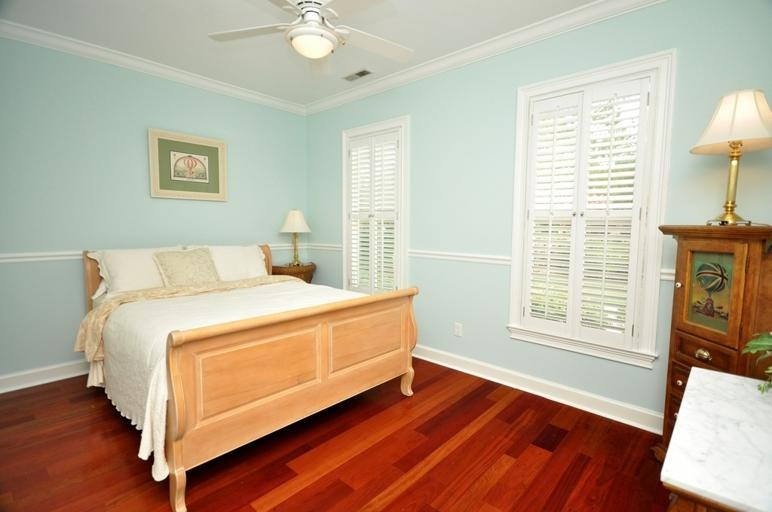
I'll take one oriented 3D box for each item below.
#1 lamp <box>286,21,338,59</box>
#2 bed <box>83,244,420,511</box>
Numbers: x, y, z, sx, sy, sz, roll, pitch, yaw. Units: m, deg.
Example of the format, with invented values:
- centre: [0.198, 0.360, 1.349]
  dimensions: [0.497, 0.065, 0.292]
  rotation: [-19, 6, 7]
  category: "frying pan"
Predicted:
- centre: [-0.571, -1.705, 3.626]
  dimensions: [0.385, 0.187, 0.232]
  rotation: [-3, 7, -1]
  category: "lamp"
- centre: [-1.346, 0.860, 4.205]
  dimensions: [1.764, 1.195, 2.227]
  rotation: [-3, 1, -44]
  category: "bed"
